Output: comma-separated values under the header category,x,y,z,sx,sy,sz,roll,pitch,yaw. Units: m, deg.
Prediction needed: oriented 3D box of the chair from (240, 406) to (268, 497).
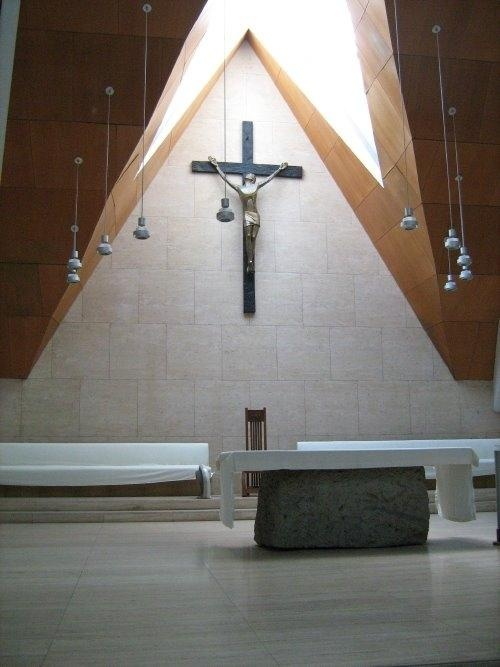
category,x,y,z,sx,sy,sz,roll,pitch,yaw
chair,0.051,1.327,8.333,0.333,0.905,0.387,-1,10,19

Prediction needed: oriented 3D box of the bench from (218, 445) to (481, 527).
category,x,y,z,sx,sy,sz,roll,pitch,yaw
bench,0.614,0.898,4.449,1.545,0.468,0.481,1,-4,-15
